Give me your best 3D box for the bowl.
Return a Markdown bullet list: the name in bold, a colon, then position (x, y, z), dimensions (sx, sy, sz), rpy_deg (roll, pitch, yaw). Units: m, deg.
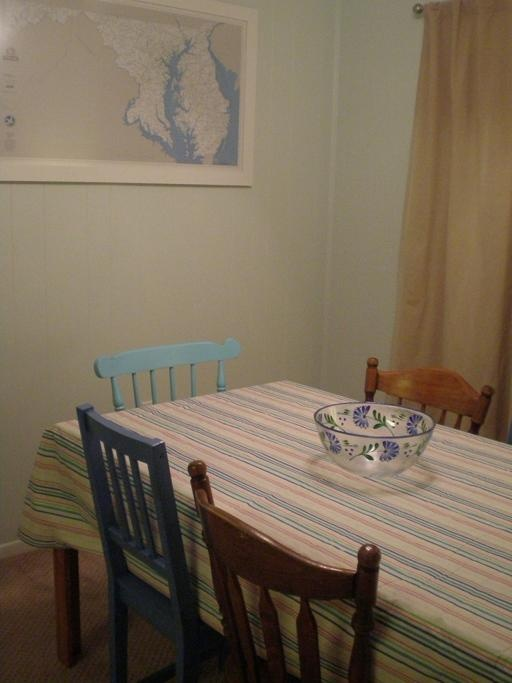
- **bowl**: position (0.227, 0.208, 1.182), dimensions (0.250, 0.112, 0.241), rpy_deg (6, -24, 3)
